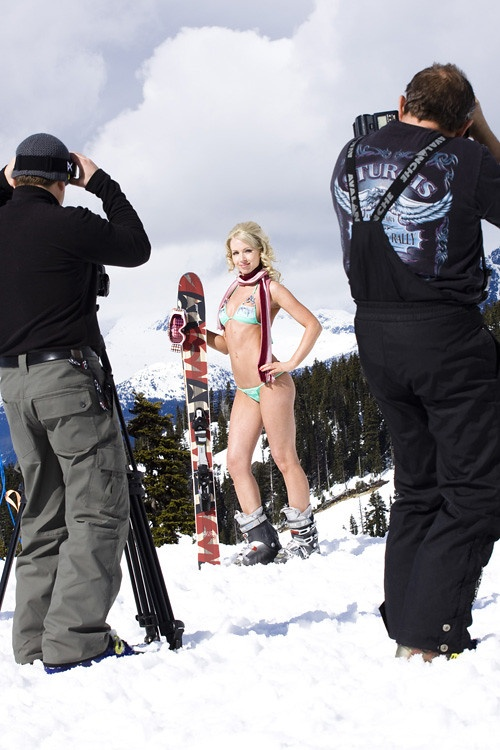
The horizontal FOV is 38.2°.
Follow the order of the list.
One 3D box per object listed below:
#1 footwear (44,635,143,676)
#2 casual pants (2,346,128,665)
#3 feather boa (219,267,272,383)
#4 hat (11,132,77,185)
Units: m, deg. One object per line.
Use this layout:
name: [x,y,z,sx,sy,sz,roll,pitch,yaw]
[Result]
footwear: [-0.604,1.133,2.927,0.435,0.095,0.226,4,-9,-40]
casual pants: [-0.816,0.549,3.015,0.471,1.278,0.295,-4,-8,18]
feather boa: [0.043,-0.382,5.539,0.223,0.827,0.489,-4,9,-37]
hat: [-0.902,-0.951,3.143,0.269,0.196,0.192,-7,27,-36]
